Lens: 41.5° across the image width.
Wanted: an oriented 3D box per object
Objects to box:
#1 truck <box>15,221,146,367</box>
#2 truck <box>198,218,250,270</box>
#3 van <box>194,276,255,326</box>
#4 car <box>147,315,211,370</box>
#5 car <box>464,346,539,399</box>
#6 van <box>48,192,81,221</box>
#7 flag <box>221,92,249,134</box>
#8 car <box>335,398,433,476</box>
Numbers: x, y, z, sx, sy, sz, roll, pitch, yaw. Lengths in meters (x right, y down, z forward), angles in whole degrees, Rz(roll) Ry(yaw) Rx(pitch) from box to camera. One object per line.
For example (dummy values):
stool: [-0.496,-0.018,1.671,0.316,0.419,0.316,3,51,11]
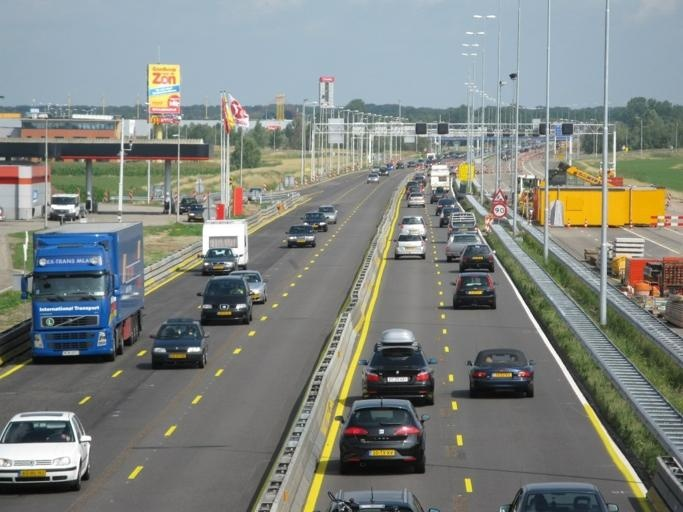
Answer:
truck: [-10.080,1.498,36.234,3.061,5.083,5.868,1,7,14]
truck: [-7.649,-0.541,59.261,2.455,3.369,2.675,-2,8,-1]
van: [-5.311,2.175,41.615,2.168,2.136,1.624,-1,6,-2]
car: [-6.035,3.400,33.658,1.901,1.641,1.302,-1,6,-2]
car: [5.092,3.879,28.978,1.995,1.524,0.845,0,6,4]
van: [-28.110,-4.944,92.481,2.052,2.249,3.631,0,-2,-5]
flag: [-10.799,-14.366,90.412,2.185,3.761,3.967,-2,6,-10]
car: [1.000,4.606,22.565,1.819,1.845,2.452,0,2,1]
